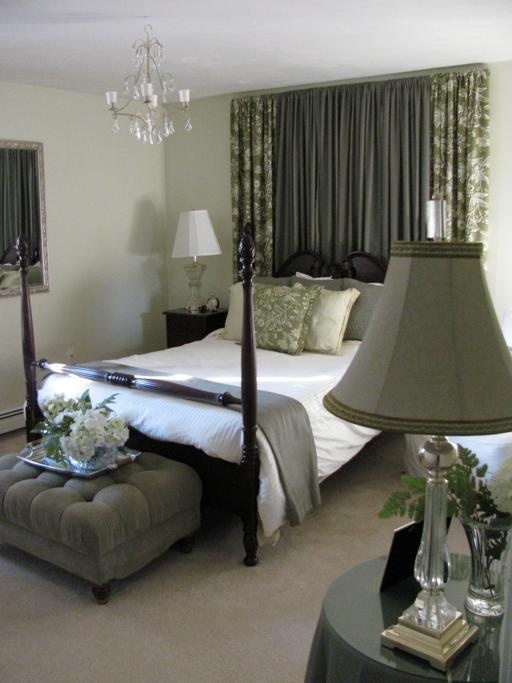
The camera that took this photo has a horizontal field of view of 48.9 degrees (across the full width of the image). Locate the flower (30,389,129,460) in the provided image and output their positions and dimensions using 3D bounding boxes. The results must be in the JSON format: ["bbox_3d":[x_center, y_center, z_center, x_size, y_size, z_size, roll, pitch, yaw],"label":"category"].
[{"bbox_3d":[-0.752,0.341,2.432,0.289,0.266,0.328,5,7,-17],"label":"flower"}]

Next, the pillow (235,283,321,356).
[{"bbox_3d":[0.183,-0.172,3.670,0.456,0.442,0.136,3,-13,40],"label":"pillow"}]

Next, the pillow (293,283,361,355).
[{"bbox_3d":[0.471,-0.149,3.677,0.394,0.400,0.116,-2,-22,41],"label":"pillow"}]

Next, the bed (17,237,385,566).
[{"bbox_3d":[-0.343,0.068,3.199,1.486,1.402,1.376,7,13,29],"label":"bed"}]

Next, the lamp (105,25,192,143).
[{"bbox_3d":[-0.706,-1.759,3.731,0.448,0.750,0.534,-2,29,-8],"label":"lamp"}]

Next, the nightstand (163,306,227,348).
[{"bbox_3d":[-0.538,-0.171,4.937,0.452,0.453,0.336,5,11,28],"label":"nightstand"}]
